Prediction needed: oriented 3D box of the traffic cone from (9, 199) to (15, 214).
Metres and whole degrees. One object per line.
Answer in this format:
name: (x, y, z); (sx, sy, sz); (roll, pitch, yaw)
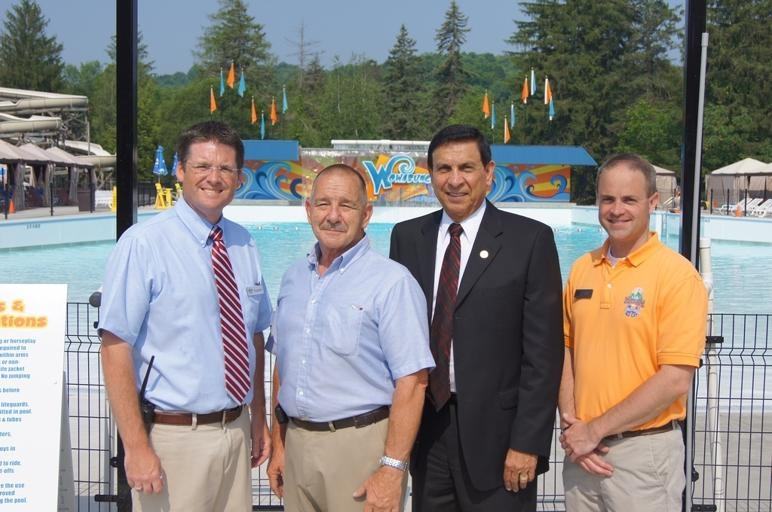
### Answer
traffic cone: (-23.629, -3.230, 79.041); (0.415, 0.817, 0.936); (-2, 3, -17)
